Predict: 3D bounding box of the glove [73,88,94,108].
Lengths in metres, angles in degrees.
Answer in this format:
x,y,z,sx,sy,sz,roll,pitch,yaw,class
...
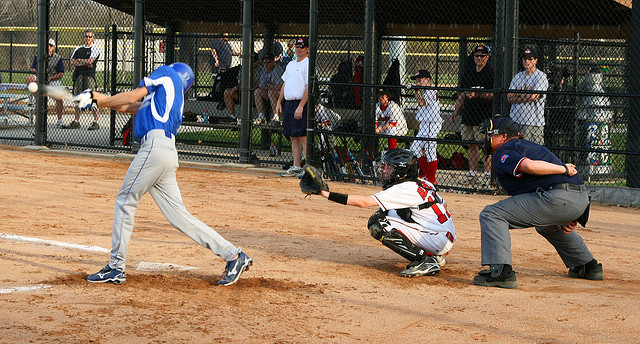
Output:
x,y,z,sx,sy,sz,roll,pitch,yaw,class
-4.075,-1.255,13.352,0.310,0.132,0.311,-35,38,-9,glove

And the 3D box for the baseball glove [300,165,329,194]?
x,y,z,sx,sy,sz,roll,pitch,yaw,class
-0.118,0.169,13.365,0.336,0.546,0.383,-25,-1,21,baseball glove

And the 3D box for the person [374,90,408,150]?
x,y,z,sx,sy,sz,roll,pitch,yaw,class
1.754,-1.292,19.145,0.784,1.430,1.099,3,6,-10,person

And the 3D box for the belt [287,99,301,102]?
x,y,z,sx,sy,sz,roll,pitch,yaw,class
-0.647,-1.748,19.071,0.312,0.070,0.053,5,6,9,belt

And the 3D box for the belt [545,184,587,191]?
x,y,z,sx,sy,sz,roll,pitch,yaw,class
4.351,0.291,13.597,0.747,0.139,0.089,4,5,-8,belt

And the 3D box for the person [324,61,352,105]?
x,y,z,sx,sy,sz,roll,pitch,yaw,class
0.506,-2.336,20.234,0.609,1.159,1.020,6,6,18,person

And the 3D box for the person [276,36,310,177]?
x,y,z,sx,sy,sz,roll,pitch,yaw,class
-0.571,-1.542,19.165,0.731,3.398,0.505,7,6,26,person
